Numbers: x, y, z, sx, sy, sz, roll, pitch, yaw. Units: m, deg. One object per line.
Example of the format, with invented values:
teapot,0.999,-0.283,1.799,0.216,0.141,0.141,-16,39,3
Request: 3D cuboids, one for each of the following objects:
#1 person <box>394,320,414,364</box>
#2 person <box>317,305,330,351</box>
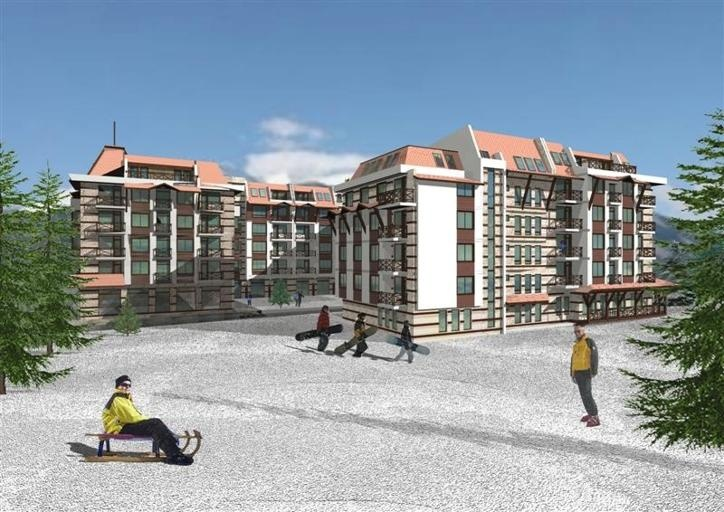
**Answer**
person,2.612,5.167,46.510,0.872,2.750,0.474,3,7,35
person,-2.349,4.425,48.182,0.828,2.828,0.471,6,8,16
